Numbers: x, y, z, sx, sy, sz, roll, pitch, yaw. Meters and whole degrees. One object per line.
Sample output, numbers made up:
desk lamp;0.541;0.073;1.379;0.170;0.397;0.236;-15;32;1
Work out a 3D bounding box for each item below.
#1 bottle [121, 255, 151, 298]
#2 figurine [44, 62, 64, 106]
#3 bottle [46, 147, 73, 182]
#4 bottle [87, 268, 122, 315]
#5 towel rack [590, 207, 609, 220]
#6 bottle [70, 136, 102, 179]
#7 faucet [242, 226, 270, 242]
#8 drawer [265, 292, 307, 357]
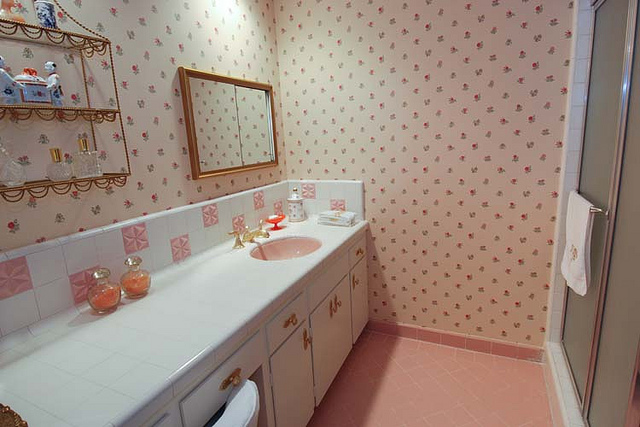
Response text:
bottle;-1.010;0.334;2.180;0.144;0.216;0.140;1;16;0
figurine;-1.319;-0.640;1.982;0.069;0.208;0.121;-10;15;-30
bottle;-1.302;-0.231;1.995;0.105;0.186;0.109;-15;-3;-1
bottle;-1.122;0.410;2.070;0.152;0.206;0.127;-10;6;-36
towel rack;1.544;-0.014;2.195;0.077;0.045;0.050;26;55;26
bottle;-1.217;-0.292;2.084;0.177;0.207;0.175;-10;7;-22
faucet;-0.461;0.143;2.839;0.182;0.106;0.079;-11;16;-37
drawer;-0.187;0.619;2.251;0.237;0.187;0.381;0;17;25
